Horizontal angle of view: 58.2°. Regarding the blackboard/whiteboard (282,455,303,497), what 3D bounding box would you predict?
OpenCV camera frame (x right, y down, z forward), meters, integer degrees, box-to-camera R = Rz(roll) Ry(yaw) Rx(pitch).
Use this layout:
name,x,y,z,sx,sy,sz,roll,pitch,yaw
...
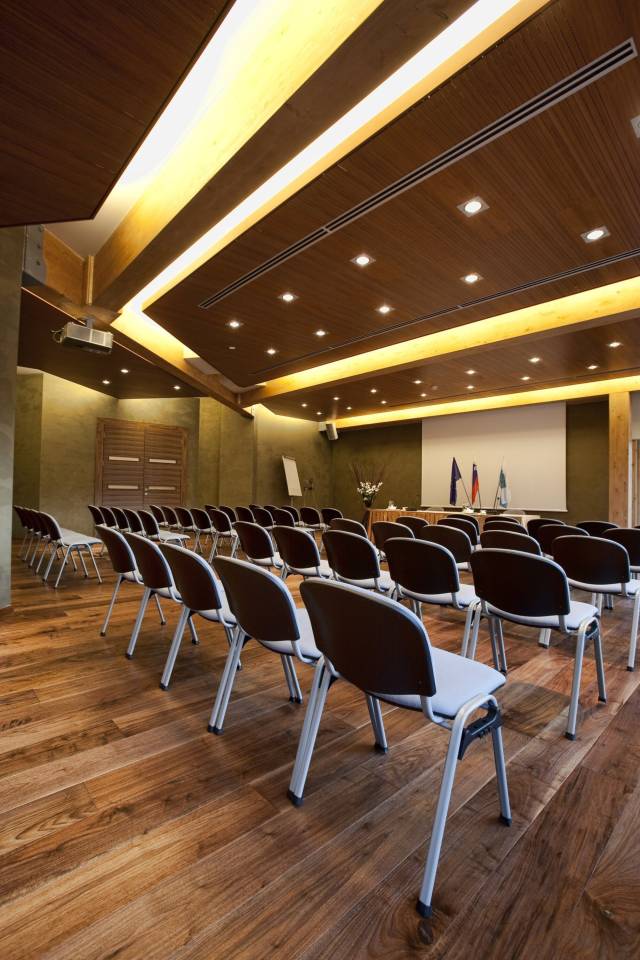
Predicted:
name,x,y,z,sx,sy,sz,roll,pitch,yaw
blackboard/whiteboard,-0.695,-0.086,13.595,0.083,1.114,0.986,-7,-1,24

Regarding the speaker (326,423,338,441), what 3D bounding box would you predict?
name,x,y,z,sx,sy,sz,roll,pitch,yaw
speaker,0.259,-1.203,13.992,0.229,0.359,0.413,0,4,0

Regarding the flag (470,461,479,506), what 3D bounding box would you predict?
name,x,y,z,sx,sy,sz,roll,pitch,yaw
flag,2.814,0.127,10.386,0.131,0.829,1.324,1,4,16

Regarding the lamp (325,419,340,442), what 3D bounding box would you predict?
name,x,y,z,sx,sy,sz,roll,pitch,yaw
lamp,0.252,-1.353,14.128,0.350,0.658,0.368,-9,45,-1

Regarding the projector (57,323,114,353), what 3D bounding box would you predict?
name,x,y,z,sx,sy,sz,roll,pitch,yaw
projector,-2.536,-1.453,5.987,0.380,0.238,0.389,3,0,37

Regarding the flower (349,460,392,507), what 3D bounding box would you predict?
name,x,y,z,sx,sy,sz,roll,pitch,yaw
flower,1.188,0.017,13.231,0.995,1.191,1.016,10,16,34
